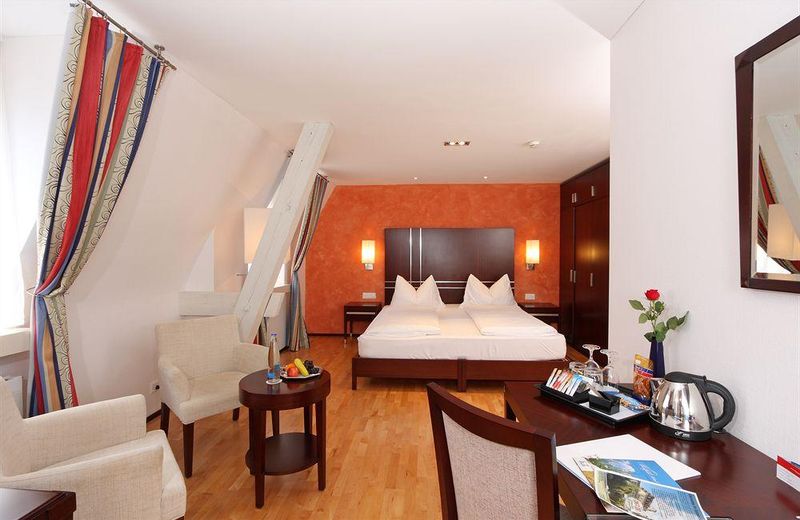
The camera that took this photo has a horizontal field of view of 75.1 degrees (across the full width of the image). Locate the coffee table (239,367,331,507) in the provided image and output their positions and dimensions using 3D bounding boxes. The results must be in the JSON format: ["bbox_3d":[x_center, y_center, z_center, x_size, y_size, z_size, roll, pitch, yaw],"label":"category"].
[{"bbox_3d":[-0.833,1.218,3.817,0.747,0.858,0.752,-1,0,-20],"label":"coffee table"}]

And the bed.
[{"bbox_3d":[0.681,0.464,6.239,2.000,1.406,2.596,0,10,5],"label":"bed"}]

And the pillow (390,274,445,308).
[{"bbox_3d":[0.191,0.438,7.171,0.761,0.253,0.631,-3,23,-14],"label":"pillow"}]

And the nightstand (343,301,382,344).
[{"bbox_3d":[-0.552,0.877,7.361,0.538,0.573,0.552,0,0,0],"label":"nightstand"}]

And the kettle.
[{"bbox_3d":[1.456,0.733,2.602,0.366,0.285,0.276,0,-1,31],"label":"kettle"}]

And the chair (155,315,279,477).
[{"bbox_3d":[-1.427,1.019,4.089,0.947,0.957,0.974,1,8,0],"label":"chair"}]

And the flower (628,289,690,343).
[{"bbox_3d":[1.430,0.306,2.950,0.290,0.291,0.270,-3,10,-23],"label":"flower"}]

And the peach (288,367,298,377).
[{"bbox_3d":[-0.777,0.803,3.730,0.057,0.080,0.057,-1,8,-7],"label":"peach"}]
